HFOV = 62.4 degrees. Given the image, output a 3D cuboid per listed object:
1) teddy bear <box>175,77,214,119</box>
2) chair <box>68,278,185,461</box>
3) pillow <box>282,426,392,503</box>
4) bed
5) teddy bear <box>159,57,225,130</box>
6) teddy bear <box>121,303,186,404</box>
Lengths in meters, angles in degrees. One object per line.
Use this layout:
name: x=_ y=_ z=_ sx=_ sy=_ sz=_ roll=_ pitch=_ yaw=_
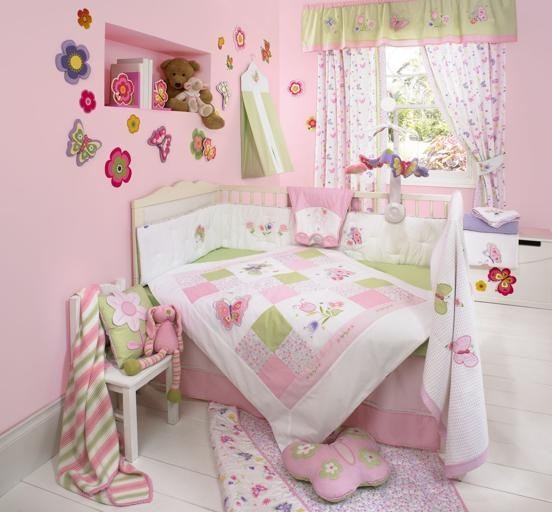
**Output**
teddy bear: x=-0.508 y=-0.989 z=2.936 sx=0.186 sy=0.283 sz=0.318 roll=18 pitch=24 yaw=33
chair: x=-0.660 y=0.466 z=2.032 sx=0.391 sy=0.647 sz=0.403 roll=7 pitch=15 yaw=28
pillow: x=0.237 y=0.775 z=1.756 sx=0.388 sy=0.120 sz=0.291 roll=-8 pitch=16 yaw=-28
bed: x=0.005 y=0.080 z=3.019 sx=2.070 sy=1.831 sz=1.211 roll=3 pitch=11 yaw=18
teddy bear: x=-0.556 y=-1.005 z=2.953 sx=0.364 sy=0.449 sz=0.402 roll=29 pitch=25 yaw=33
teddy bear: x=-0.534 y=0.415 z=2.071 sx=0.219 sy=0.163 sz=0.401 roll=23 pitch=37 yaw=-32
